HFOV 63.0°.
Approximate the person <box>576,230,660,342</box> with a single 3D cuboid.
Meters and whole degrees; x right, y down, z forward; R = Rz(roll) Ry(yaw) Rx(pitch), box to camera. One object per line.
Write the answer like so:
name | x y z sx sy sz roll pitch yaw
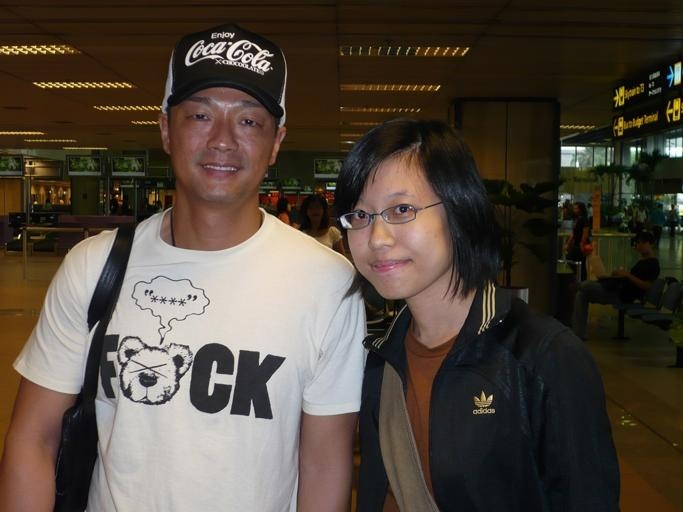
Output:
person | 2.718 0.306 5.568 0.787 1.213 0.528 6 12 10
